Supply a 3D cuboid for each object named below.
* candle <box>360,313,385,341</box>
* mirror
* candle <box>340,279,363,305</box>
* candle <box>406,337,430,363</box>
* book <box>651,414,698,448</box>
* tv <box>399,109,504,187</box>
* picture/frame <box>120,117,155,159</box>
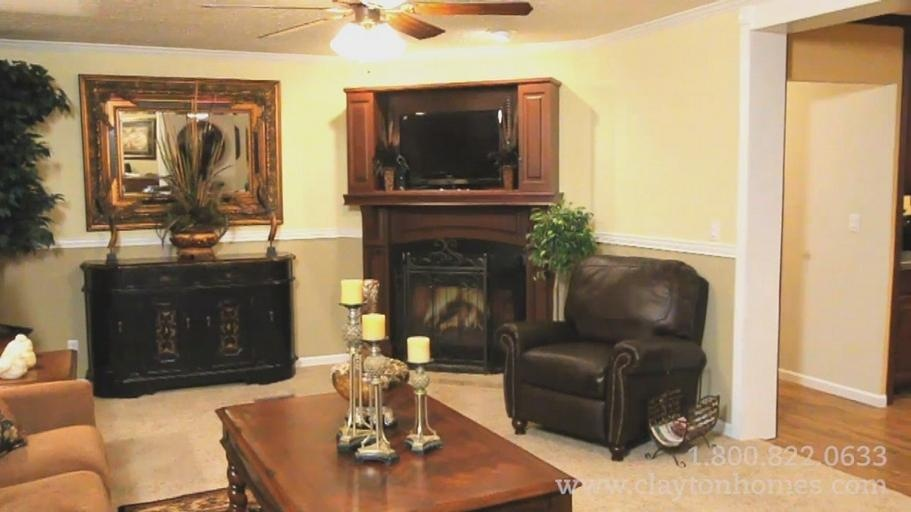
[{"bbox_3d":[-0.554,0.505,5.156,0.195,0.183,0.197,3,5,42],"label":"candle"},{"bbox_3d":[-3.177,-1.191,8.042,2.175,1.522,0.163,-2,7,-15],"label":"mirror"},{"bbox_3d":[-0.737,0.270,5.285,0.197,0.179,0.189,-1,2,-39],"label":"candle"},{"bbox_3d":[-0.247,0.669,5.118,0.220,0.204,0.201,-1,-4,3],"label":"candle"},{"bbox_3d":[1.914,1.557,6.430,0.332,0.110,0.291,-7,20,-21],"label":"book"},{"bbox_3d":[0.006,-1.228,8.141,1.087,0.647,0.044,0,4,11],"label":"tv"},{"bbox_3d":[-3.540,-1.310,7.995,0.567,0.473,0.038,0,6,-8],"label":"picture/frame"}]
